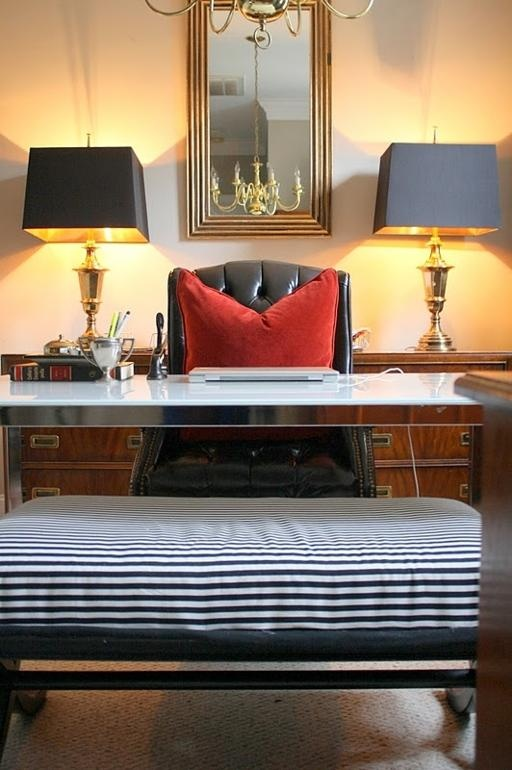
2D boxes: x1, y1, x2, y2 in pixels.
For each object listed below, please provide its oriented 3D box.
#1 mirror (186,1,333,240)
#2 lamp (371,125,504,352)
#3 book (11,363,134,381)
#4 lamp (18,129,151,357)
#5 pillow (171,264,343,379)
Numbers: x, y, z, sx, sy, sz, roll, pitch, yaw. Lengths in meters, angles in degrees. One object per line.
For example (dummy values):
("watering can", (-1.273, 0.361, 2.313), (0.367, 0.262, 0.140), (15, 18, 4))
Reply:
("mirror", (0.001, -1.091, 2.665), (0.556, 1.004, 0.071), (2, 7, -7))
("lamp", (0.703, -0.512, 2.533), (0.452, 0.815, 0.399), (0, -3, 2))
("book", (-0.405, -0.032, 1.431), (0.272, 0.039, 0.193), (-1, 2, -8))
("lamp", (-0.625, -0.562, 2.470), (0.510, 0.985, 0.511), (0, 5, -1))
("pillow", (0.012, -0.141, 1.571), (0.367, 0.289, 0.289), (1, 10, -8))
